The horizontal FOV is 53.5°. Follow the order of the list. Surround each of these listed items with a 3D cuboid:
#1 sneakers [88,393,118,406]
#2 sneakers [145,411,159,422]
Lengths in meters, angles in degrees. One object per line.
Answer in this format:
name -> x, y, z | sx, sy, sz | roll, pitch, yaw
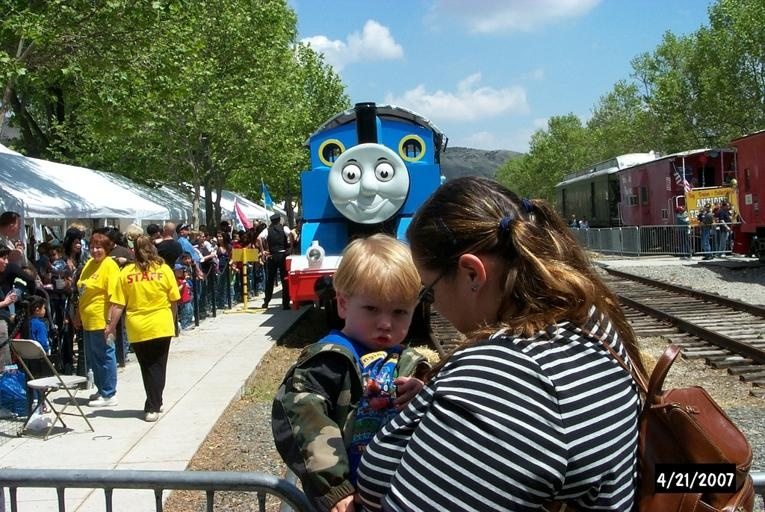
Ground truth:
sneakers -> -3.361, 1.751, 9.244 | 0.443, 0.173, 0.147 | 4, -2, -11
sneakers -> -2.636, 1.835, 8.681 | 0.169, 0.082, 0.219 | -4, 6, -17
